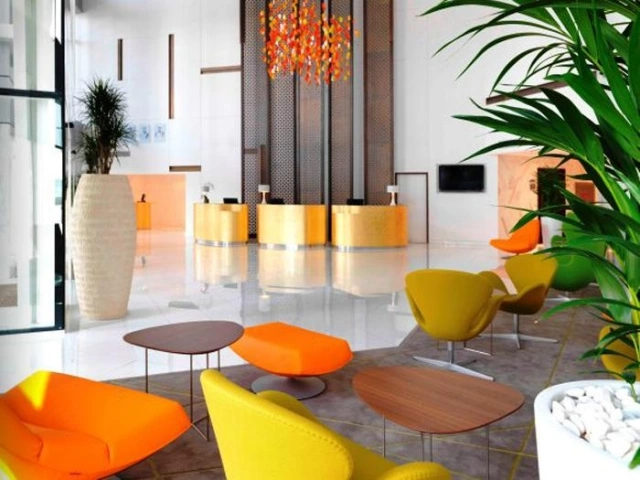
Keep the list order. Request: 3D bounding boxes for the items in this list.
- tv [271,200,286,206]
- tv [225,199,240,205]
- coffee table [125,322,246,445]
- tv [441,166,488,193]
[{"bbox_3d":[-0.989,-0.878,11.268,0.333,0.142,0.210,0,2,14],"label":"tv"},{"bbox_3d":[-2.269,-0.950,12.094,0.351,0.133,0.361,-2,6,-7],"label":"tv"},{"bbox_3d":[-0.823,0.781,2.914,0.778,0.457,0.610,-2,11,-24],"label":"coffee table"},{"bbox_3d":[3.720,-1.530,12.098,1.478,0.751,0.735,1,-2,17],"label":"tv"}]
